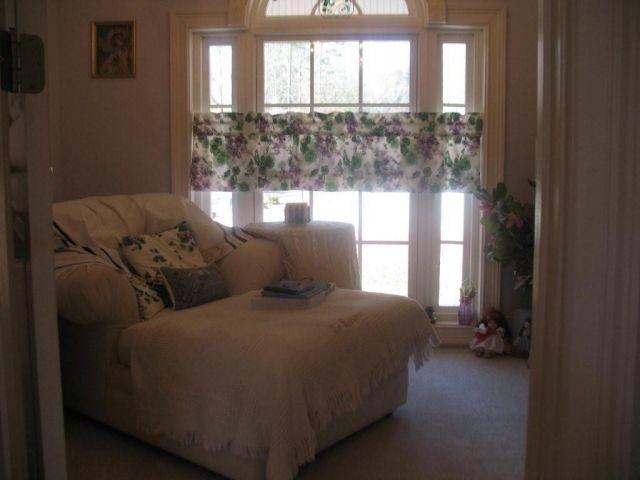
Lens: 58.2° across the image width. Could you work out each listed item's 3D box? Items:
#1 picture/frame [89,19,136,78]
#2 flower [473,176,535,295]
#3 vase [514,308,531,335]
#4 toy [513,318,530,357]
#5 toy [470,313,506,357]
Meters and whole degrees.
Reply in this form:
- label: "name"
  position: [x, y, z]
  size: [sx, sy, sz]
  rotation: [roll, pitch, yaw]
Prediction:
- label: "picture/frame"
  position: [-1.343, -1.259, 3.731]
  size: [0.306, 0.418, 0.030]
  rotation: [2, 5, 1]
- label: "flower"
  position: [1.129, -0.004, 3.548]
  size: [0.356, 0.722, 0.512]
  rotation: [3, 8, 20]
- label: "vase"
  position: [1.297, 0.518, 3.679]
  size: [0.116, 0.118, 0.123]
  rotation: [2, 6, 21]
- label: "toy"
  position: [1.251, 0.612, 3.565]
  size: [0.084, 0.224, 0.152]
  rotation: [2, 8, 17]
- label: "toy"
  position: [1.084, 0.580, 3.700]
  size: [0.232, 0.316, 0.237]
  rotation: [2, 0, 21]
